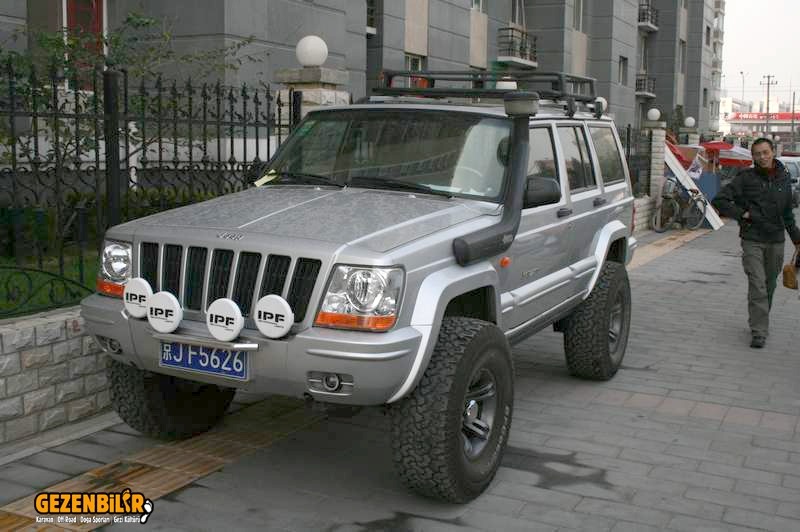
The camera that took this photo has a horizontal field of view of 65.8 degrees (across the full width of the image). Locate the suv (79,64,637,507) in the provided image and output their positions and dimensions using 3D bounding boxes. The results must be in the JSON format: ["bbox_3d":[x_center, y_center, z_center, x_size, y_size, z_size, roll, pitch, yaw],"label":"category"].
[{"bbox_3d":[0.294,-0.294,6.174,2.773,3.050,5.480,3,5,30],"label":"suv"}]

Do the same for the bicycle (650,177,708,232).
[{"bbox_3d":[8.487,-1.894,18.877,1.640,1.620,0.794,-4,11,-24],"label":"bicycle"}]

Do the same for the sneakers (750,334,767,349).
[{"bbox_3d":[4.629,0.990,8.010,0.107,0.151,0.325,-3,-6,30],"label":"sneakers"}]
